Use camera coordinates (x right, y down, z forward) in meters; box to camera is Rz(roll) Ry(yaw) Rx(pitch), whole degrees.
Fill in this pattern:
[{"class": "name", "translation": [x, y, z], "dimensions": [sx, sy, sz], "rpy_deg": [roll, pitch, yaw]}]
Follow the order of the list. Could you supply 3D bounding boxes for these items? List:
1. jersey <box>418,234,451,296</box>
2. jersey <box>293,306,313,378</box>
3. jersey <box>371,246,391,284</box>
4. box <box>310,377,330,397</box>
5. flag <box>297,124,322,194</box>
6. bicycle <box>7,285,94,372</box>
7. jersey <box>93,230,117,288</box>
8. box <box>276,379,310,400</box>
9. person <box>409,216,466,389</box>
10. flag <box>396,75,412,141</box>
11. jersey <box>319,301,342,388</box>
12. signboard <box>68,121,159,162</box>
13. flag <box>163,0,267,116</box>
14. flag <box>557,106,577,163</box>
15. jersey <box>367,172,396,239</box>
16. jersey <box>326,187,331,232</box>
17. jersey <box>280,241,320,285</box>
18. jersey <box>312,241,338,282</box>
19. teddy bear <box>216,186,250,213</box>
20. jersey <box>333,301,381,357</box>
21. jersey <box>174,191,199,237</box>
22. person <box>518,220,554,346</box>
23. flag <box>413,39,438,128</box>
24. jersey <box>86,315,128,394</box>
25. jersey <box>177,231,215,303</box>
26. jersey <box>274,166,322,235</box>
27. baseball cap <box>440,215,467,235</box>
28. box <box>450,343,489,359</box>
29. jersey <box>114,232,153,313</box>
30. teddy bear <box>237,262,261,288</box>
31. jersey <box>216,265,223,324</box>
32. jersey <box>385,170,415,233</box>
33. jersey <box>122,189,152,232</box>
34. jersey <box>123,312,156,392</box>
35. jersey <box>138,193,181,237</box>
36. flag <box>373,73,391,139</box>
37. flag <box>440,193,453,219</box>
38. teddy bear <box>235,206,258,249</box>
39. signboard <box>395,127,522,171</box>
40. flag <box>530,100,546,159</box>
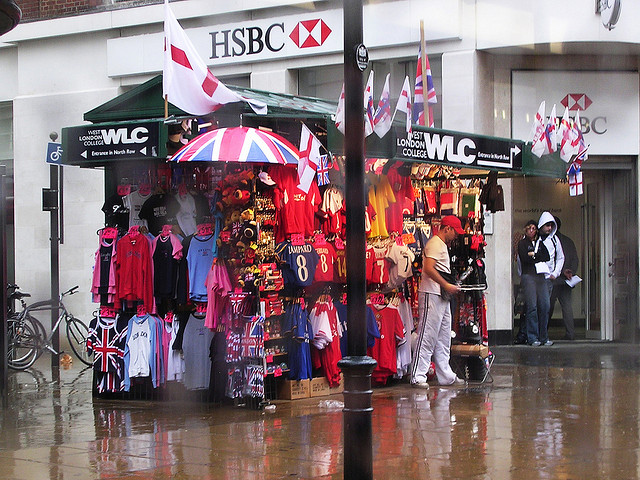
[{"class": "jersey", "translation": [1.771, 0.355, 11.888], "dimensions": [0.466, 1.020, 0.918], "rpy_deg": [1, 8, 6]}, {"class": "jersey", "translation": [-0.234, 1.427, 10.879], "dimensions": [0.321, 0.998, 0.284], "rpy_deg": [1, -4, -19]}, {"class": "jersey", "translation": [0.906, 0.402, 11.609], "dimensions": [0.425, 0.629, 0.081], "rpy_deg": [1, -8, 4]}, {"class": "box", "translation": [-0.015, 2.097, 11.036], "dimensions": [0.358, 0.221, 0.228], "rpy_deg": [-4, -12, -40]}, {"class": "flag", "translation": [-0.151, -1.012, 9.694], "dimensions": [0.306, 0.074, 0.953], "rpy_deg": [16, -50, 1]}, {"class": "bicycle", "translation": [-5.186, 1.674, 15.123], "dimensions": [1.283, 1.506, 3.421], "rpy_deg": [0, -4, -15]}, {"class": "jersey", "translation": [-3.065, 0.262, 11.076], "dimensions": [0.418, 0.831, 0.152], "rpy_deg": [-3, -4, 38]}, {"class": "box", "translation": [-0.381, 2.064, 10.877], "dimensions": [0.346, 0.245, 0.256], "rpy_deg": [1, 2, -32]}, {"class": "person", "translation": [1.714, 0.933, 11.732], "dimensions": [0.771, 2.558, 0.623], "rpy_deg": [-1, -3, 11]}, {"class": "flag", "translation": [1.238, -1.968, 11.487], "dimensions": [0.266, 1.256, 0.120], "rpy_deg": [5, -33, -3]}, {"class": "jersey", "translation": [0.173, 1.503, 11.096], "dimensions": [0.186, 1.221, 0.578], "rpy_deg": [-2, -4, 20]}, {"class": "signboard", "translation": [-2.893, -1.351, 10.842], "dimensions": [1.474, 0.504, 0.056], "rpy_deg": [-2, -4, 18]}, {"class": "flag", "translation": [-1.633, -2.372, 10.282], "dimensions": [0.852, 1.467, 0.222], "rpy_deg": [-1, -3, 7]}, {"class": "flag", "translation": [4.304, -1.807, 13.619], "dimensions": [0.302, 0.956, 0.699], "rpy_deg": [-1, -4, 11]}, {"class": "jersey", "translation": [0.894, -0.569, 11.807], "dimensions": [0.494, 1.164, 0.200], "rpy_deg": [-14, 39, -12]}, {"class": "jersey", "translation": [0.120, -0.432, 11.252], "dimensions": [0.058, 0.593, 0.186], "rpy_deg": [-1, -3, 3]}, {"class": "jersey", "translation": [-0.296, 0.322, 10.630], "dimensions": [0.482, 0.566, 0.124], "rpy_deg": [-2, 2, -16]}, {"class": "jersey", "translation": [0.045, 0.314, 10.937], "dimensions": [0.065, 0.556, 0.491], "rpy_deg": [-4, -5, 44]}, {"class": "teddy bear", "translation": [-1.163, -0.538, 10.387], "dimensions": [0.469, 0.338, 0.204], "rpy_deg": [-3, -4, 35]}, {"class": "jersey", "translation": [0.548, 1.470, 11.557], "dimensions": [0.135, 1.019, 0.908], "rpy_deg": [8, -3, -39]}, {"class": "jersey", "translation": [-1.896, -0.348, 11.005], "dimensions": [0.412, 0.094, 0.892], "rpy_deg": [-13, -42, -11]}, {"class": "person", "translation": [4.507, 0.916, 16.408], "dimensions": [0.626, 2.602, 0.444], "rpy_deg": [-2, -4, 17]}, {"class": "flag", "translation": [1.942, -2.898, 14.527], "dimensions": [0.440, 1.916, 1.612], "rpy_deg": [-1, -4, 7]}, {"class": "jersey", "translation": [-3.021, 1.646, 11.173], "dimensions": [0.666, 1.131, 0.199], "rpy_deg": [-1, -3, 14]}, {"class": "jersey", "translation": [-1.702, 0.387, 10.631], "dimensions": [0.544, 0.933, 0.210], "rpy_deg": [-3, -4, 37]}, {"class": "jersey", "translation": [-0.331, -0.542, 10.524], "dimensions": [0.762, 1.170, 0.147], "rpy_deg": [2, -6, -37]}, {"class": "baseball cap", "translation": [2.080, -0.240, 12.047], "dimensions": [0.239, 0.276, 0.563], "rpy_deg": [-3, -4, 35]}, {"class": "box", "translation": [2.301, 1.732, 12.075], "dimensions": [0.573, 0.215, 0.350], "rpy_deg": [-2, -4, 11]}, {"class": "jersey", "translation": [-2.634, 0.485, 10.980], "dimensions": [0.613, 1.084, 0.256], "rpy_deg": [-3, -4, 33]}, {"class": "teddy bear", "translation": [-0.951, 0.469, 10.309], "dimensions": [0.267, 0.321, 0.122], "rpy_deg": [3, 2, 34]}, {"class": "jersey", "translation": [-1.353, 0.735, 10.453], "dimensions": [0.068, 0.770, 0.198], "rpy_deg": [0, -4, -15]}, {"class": "jersey", "translation": [1.203, -0.606, 11.990], "dimensions": [0.174, 1.210, 0.854], "rpy_deg": [-2, -2, 36]}, {"class": "jersey", "translation": [-2.597, -0.426, 11.148], "dimensions": [0.487, 0.789, 0.120], "rpy_deg": [0, -2, 3]}, {"class": "jersey", "translation": [-2.534, 1.569, 10.948], "dimensions": [0.523, 1.071, 0.163], "rpy_deg": [-2, -4, 26]}, {"class": "jersey", "translation": [-2.240, -0.337, 11.006], "dimensions": [0.503, 0.607, 0.080], "rpy_deg": [-1, -1, 5]}, {"class": "flag", "translation": [0.855, -1.867, 10.832], "dimensions": [0.264, 1.193, 0.088], "rpy_deg": [-6, -32, 14]}, {"class": "flag", "translation": [1.964, -0.553, 12.186], "dimensions": [0.261, 0.377, 0.142], "rpy_deg": [-3, -4, 39]}, {"class": "teddy bear", "translation": [-0.970, -0.161, 10.310], "dimensions": [0.169, 0.561, 0.293], "rpy_deg": [-1, 6, -44]}, {"class": "signboard", "translation": [2.117, -1.352, 11.699], "dimensions": [2.182, 0.533, 0.077], "rpy_deg": [4, 8, -16]}, {"class": "flag", "translation": [3.588, -1.799, 12.745], "dimensions": [0.270, 1.041, 0.082], "rpy_deg": [0, 39, 16]}]
